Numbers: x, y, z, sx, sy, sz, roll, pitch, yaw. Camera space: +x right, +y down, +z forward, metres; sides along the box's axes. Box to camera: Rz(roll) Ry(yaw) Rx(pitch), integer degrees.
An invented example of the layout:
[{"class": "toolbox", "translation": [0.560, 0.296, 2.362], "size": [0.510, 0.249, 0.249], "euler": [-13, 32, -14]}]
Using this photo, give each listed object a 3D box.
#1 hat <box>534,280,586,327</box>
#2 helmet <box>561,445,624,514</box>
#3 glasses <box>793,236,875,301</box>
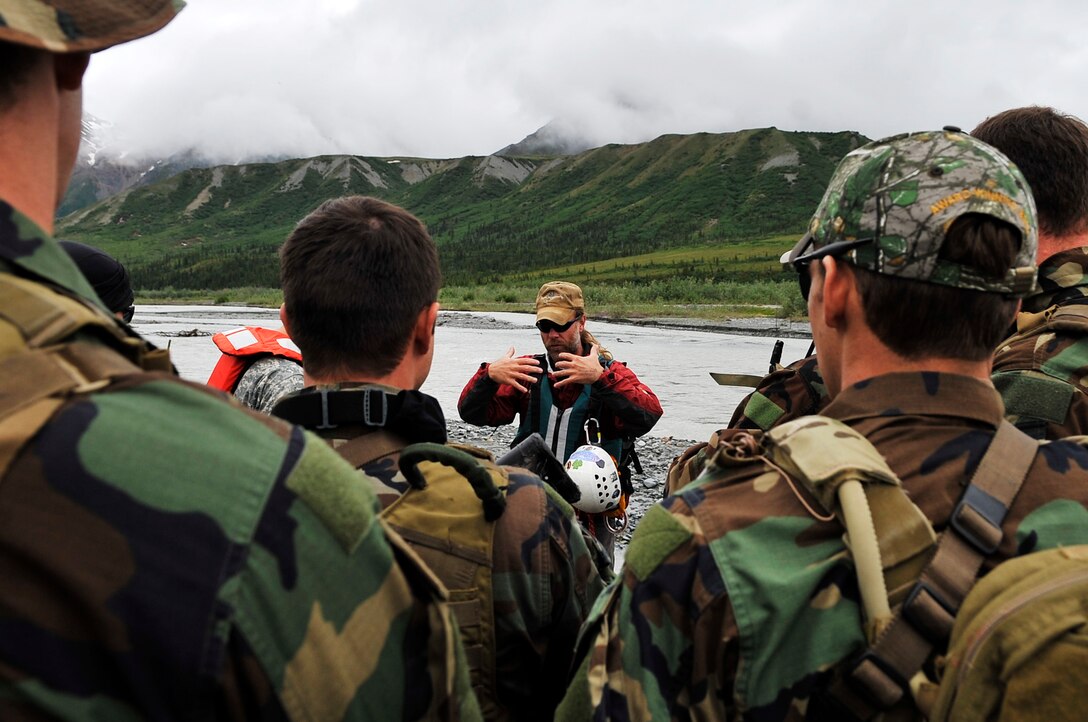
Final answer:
[{"class": "hat", "translation": [0.138, -0.460, 7.099], "size": [0.272, 0.226, 0.407], "euler": [1, 3, 19]}, {"class": "helmet", "translation": [0.330, 0.745, 5.742], "size": [0.340, 0.462, 0.425], "euler": [0, -15, 19]}, {"class": "glasses", "translation": [0.916, -0.305, 2.922], "size": [0.198, 0.068, 0.163], "euler": [-15, 11, 23]}]
